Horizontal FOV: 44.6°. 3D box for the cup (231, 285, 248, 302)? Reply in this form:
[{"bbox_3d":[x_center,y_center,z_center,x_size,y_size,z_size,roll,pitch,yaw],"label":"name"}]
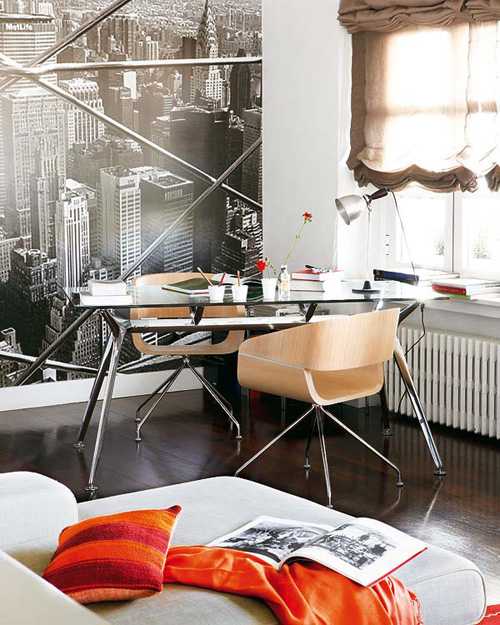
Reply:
[{"bbox_3d":[-0.061,-0.111,3.407,0.100,0.070,0.084,1,-1,-20],"label":"cup"}]

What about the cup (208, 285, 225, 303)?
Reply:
[{"bbox_3d":[-0.195,-0.096,3.415,0.100,0.074,0.086,-2,1,-9],"label":"cup"}]

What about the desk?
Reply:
[{"bbox_3d":[0.087,0.362,3.409,1.935,1.038,1.207,2,8,16],"label":"desk"}]

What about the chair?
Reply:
[{"bbox_3d":[-0.171,0.373,4.221,1.239,1.540,1.317,2,-1,-18],"label":"chair"}]

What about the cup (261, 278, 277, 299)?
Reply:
[{"bbox_3d":[0.106,-0.135,3.461,0.112,0.114,0.107,2,4,0],"label":"cup"}]
